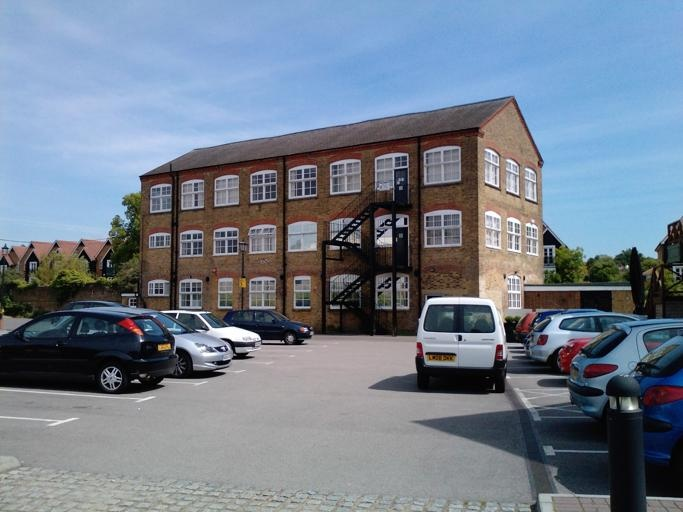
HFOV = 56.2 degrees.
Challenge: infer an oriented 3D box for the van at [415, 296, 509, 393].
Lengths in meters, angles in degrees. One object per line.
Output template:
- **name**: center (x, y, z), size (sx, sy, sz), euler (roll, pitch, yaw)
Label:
- **van**: center (2.653, 1.900, 14.185), size (1.402, 1.308, 2.626), euler (0, -1, 11)

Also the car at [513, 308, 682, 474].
- **car**: center (4.431, 2.058, 11.752), size (1.972, 2.295, 7.140), euler (1, -1, 11)
